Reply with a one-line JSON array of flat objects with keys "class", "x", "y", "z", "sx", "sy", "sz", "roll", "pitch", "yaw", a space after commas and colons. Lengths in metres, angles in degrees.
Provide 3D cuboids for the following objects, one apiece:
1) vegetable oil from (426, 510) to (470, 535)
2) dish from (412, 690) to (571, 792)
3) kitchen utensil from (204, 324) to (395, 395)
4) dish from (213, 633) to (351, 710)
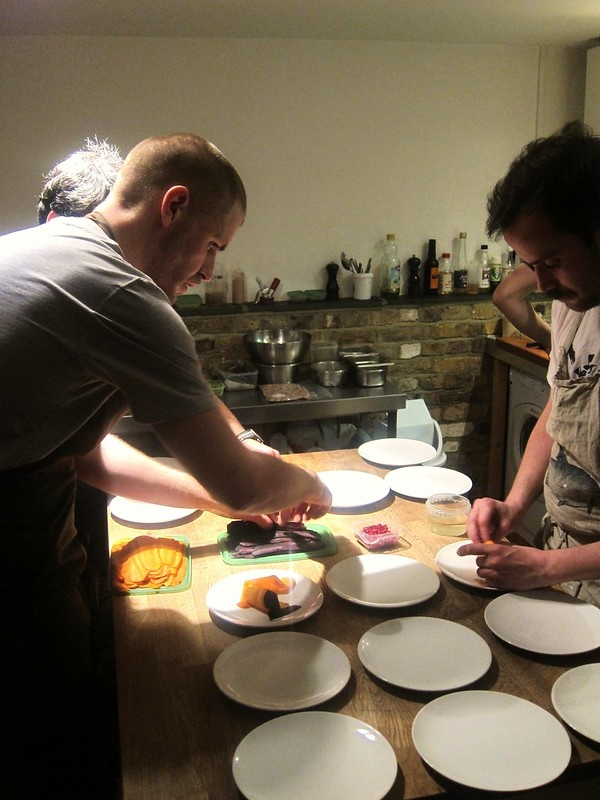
[{"class": "vegetable oil", "x": 0.371, "y": 0.297, "z": 1.636, "sx": 0.070, "sy": 0.044, "sz": 0.064, "roll": -1, "pitch": 7, "yaw": -11}, {"class": "dish", "x": 0.267, "y": 0.471, "z": 0.928, "sx": 0.205, "sy": 0.019, "sz": 0.198, "roll": 3, "pitch": 12, "yaw": 19}, {"class": "kitchen utensil", "x": 0.006, "y": -0.222, "z": 3.809, "sx": 0.831, "sy": 0.209, "sz": 0.441, "roll": -1, "pitch": 14, "yaw": -5}, {"class": "dish", "x": -0.033, "y": 0.450, "z": 1.100, "sx": 0.218, "sy": 0.029, "sz": 0.208, "roll": -6, "pitch": 12, "yaw": -22}]
